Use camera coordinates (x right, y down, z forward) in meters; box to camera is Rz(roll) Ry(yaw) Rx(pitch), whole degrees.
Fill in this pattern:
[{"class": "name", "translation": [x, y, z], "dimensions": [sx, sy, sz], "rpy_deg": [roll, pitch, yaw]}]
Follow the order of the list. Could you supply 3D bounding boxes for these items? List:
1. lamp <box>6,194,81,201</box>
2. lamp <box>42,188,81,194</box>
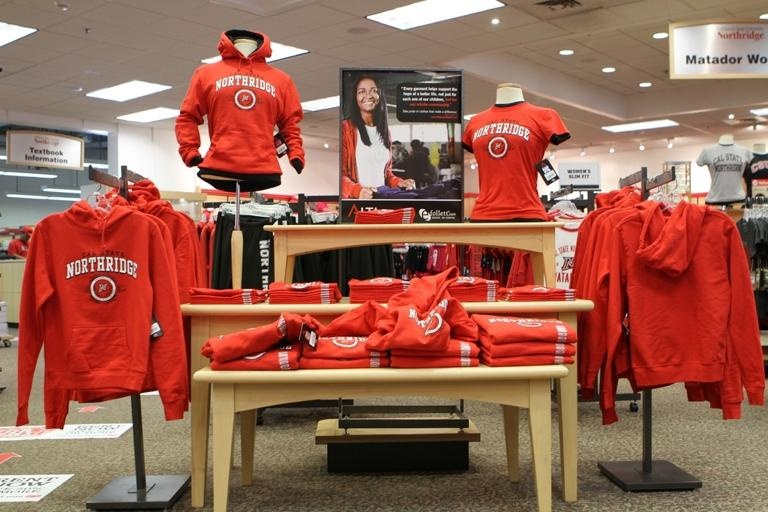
[{"class": "lamp", "translation": [-7.185, -1.211, 12.569], "dimensions": [1.339, 0.147, 0.243], "rpy_deg": [-2, 1, -34]}, {"class": "lamp", "translation": [-6.926, -1.397, 12.813], "dimensions": [0.661, 0.118, 0.107], "rpy_deg": [-2, 1, -33]}]
